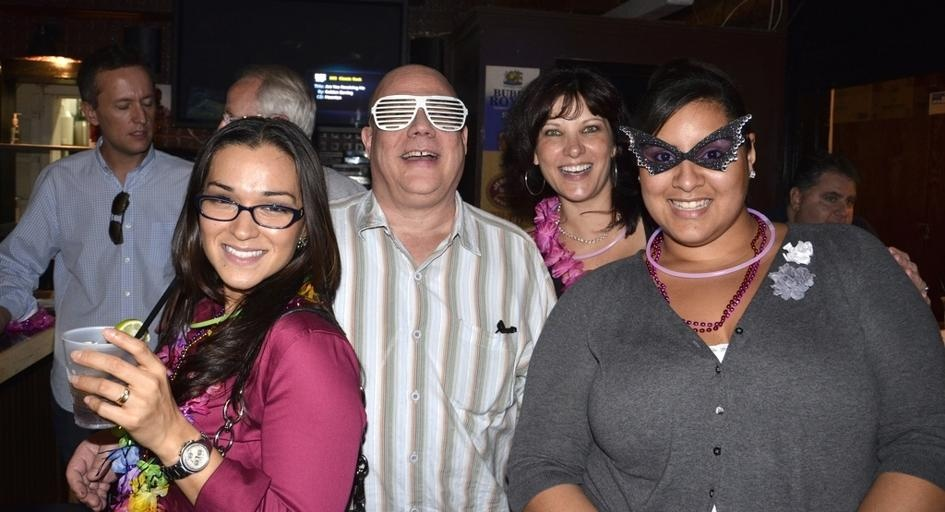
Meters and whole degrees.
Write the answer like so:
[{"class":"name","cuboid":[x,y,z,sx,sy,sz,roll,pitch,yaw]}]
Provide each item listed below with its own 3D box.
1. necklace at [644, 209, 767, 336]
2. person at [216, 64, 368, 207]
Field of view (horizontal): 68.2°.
[{"class":"necklace","cuboid":[1.338,0.148,3.600,0.560,0.652,0.121,-7,-34,20]},{"class":"person","cuboid":[-1.111,-0.830,5.013,1.063,0.833,1.246,4,7,2]}]
